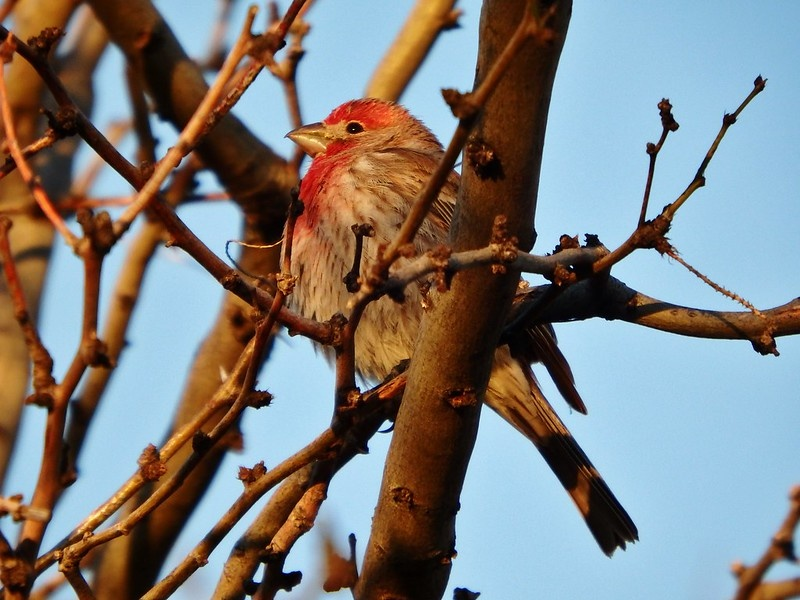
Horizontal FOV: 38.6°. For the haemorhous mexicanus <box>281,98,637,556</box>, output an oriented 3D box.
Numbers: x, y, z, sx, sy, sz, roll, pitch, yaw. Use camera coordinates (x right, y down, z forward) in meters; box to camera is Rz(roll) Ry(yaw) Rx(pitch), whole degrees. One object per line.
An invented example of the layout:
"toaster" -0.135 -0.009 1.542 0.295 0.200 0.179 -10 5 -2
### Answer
"haemorhous mexicanus" 0.247 0.046 5.789 2.031 2.308 0.989 11 -31 7
